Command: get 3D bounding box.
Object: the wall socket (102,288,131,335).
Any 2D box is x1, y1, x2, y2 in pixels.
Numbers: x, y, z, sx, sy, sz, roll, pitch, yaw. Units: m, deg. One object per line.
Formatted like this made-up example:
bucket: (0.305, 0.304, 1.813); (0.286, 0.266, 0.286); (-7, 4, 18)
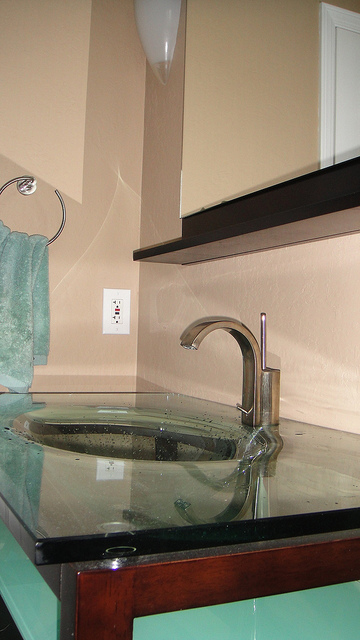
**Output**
wall socket: (-0.220, -0.031, 1.648); (0.102, 0.139, 0.028); (2, 1, -39)
